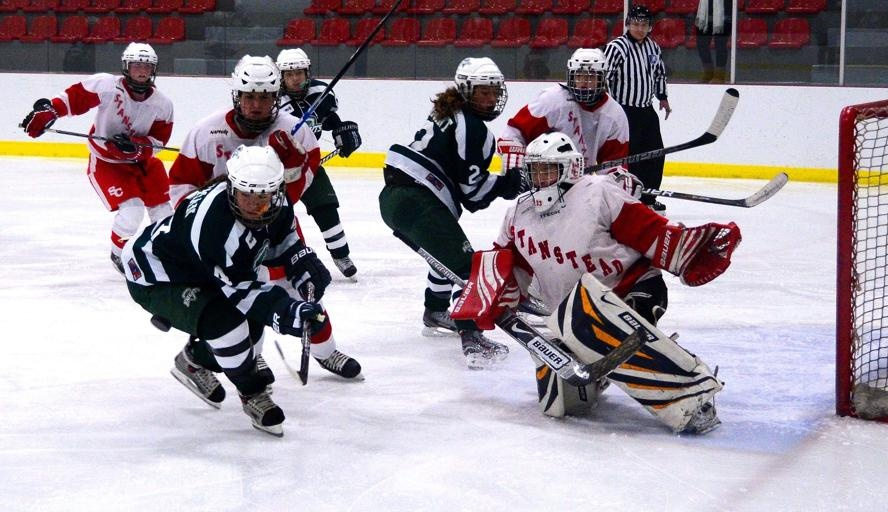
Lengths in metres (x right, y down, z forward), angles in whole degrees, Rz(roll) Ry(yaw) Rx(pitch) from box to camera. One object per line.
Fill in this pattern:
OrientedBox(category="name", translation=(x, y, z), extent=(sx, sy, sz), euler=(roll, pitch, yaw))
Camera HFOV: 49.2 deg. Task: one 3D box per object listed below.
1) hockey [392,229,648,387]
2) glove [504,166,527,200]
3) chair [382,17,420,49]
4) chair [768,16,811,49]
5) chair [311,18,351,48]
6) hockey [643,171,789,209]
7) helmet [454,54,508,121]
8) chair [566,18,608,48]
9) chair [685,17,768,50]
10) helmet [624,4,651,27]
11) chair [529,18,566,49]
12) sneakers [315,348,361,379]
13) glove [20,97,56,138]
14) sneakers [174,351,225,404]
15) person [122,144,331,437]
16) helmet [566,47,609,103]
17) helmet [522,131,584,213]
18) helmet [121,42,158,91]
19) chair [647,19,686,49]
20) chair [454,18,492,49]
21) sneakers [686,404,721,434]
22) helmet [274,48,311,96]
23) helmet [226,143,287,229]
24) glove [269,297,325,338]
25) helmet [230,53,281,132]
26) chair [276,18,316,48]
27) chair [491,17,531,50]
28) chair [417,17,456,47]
OrientedBox(category="hockey", translation=(0.273, 0.294, 5.346), extent=(1.448, 0.037, 0.474), euler=(32, 57, 31))
OrientedBox(category="glove", translation=(0.454, -0.457, 6.071), extent=(0.174, 0.181, 0.074), euler=(11, 5, -6))
OrientedBox(category="chair", translation=(-0.474, -2.702, 11.739), extent=(0.497, 0.328, 0.389), euler=(2, 0, 8))
OrientedBox(category="chair", translation=(3.690, -2.380, 10.288), extent=(0.452, 0.268, 0.279), euler=(3, 25, 18))
OrientedBox(category="chair", translation=(-1.367, -2.744, 11.957), extent=(0.507, 0.353, 0.382), euler=(2, 6, -1))
OrientedBox(category="hockey", translation=(1.678, -0.424, 6.055), extent=(0.230, 0.202, 1.542), euler=(5, 5, -22))
OrientedBox(category="helmet", translation=(0.237, -1.078, 6.103), extent=(0.372, 0.294, 0.293), euler=(23, 25, 37))
OrientedBox(category="chair", translation=(1.755, -2.669, 11.538), extent=(0.609, 0.412, 0.428), euler=(6, 25, 17))
OrientedBox(category="chair", translation=(3.282, -2.404, 10.445), extent=(1.052, 0.272, 0.347), euler=(7, 1, 25))
OrientedBox(category="helmet", translation=(1.693, -2.069, 8.339), extent=(0.184, 0.174, 0.225), euler=(3, 17, 15))
OrientedBox(category="chair", translation=(1.272, -2.642, 11.501), extent=(0.530, 0.329, 0.463), euler=(5, 31, 19))
OrientedBox(category="sneakers", translation=(-0.670, 0.619, 5.746), extent=(0.360, 0.140, 0.107), euler=(9, 59, 44))
OrientedBox(category="glove", translation=(-3.109, -1.065, 7.448), extent=(0.254, 0.285, 0.360), euler=(-8, 17, -20))
OrientedBox(category="sneakers", translation=(-1.349, 0.664, 5.365), extent=(0.397, 0.155, 0.124), euler=(32, 29, 6))
OrientedBox(category="person", translation=(-1.126, 0.168, 5.134), extent=(1.052, 1.486, 0.666), euler=(-5, 18, -11))
OrientedBox(category="helmet", translation=(0.933, -1.171, 6.429), extent=(0.298, 0.290, 0.355), euler=(5, -4, 2))
OrientedBox(category="helmet", translation=(0.567, -0.492, 5.422), extent=(0.400, 0.366, 0.398), euler=(2, 13, 28))
OrientedBox(category="helmet", translation=(-2.267, -1.493, 7.495), extent=(0.324, 0.349, 0.402), euler=(-7, 23, -30))
OrientedBox(category="chair", translation=(2.531, -2.485, 10.922), extent=(0.486, 0.350, 0.343), euler=(4, 18, 21))
OrientedBox(category="chair", translation=(0.382, -2.735, 11.799), extent=(0.449, 0.327, 0.754), euler=(-1, 15, 3))
OrientedBox(category="sneakers", translation=(1.366, 0.849, 5.063), extent=(0.219, 0.144, 0.147), euler=(2, -7, 4))
OrientedBox(category="helmet", translation=(-1.102, -1.357, 7.193), extent=(0.287, 0.275, 0.309), euler=(-6, -3, -4))
OrientedBox(category="helmet", translation=(-1.000, -0.384, 5.049), extent=(0.374, 0.385, 0.399), euler=(-4, 53, -19))
OrientedBox(category="glove", translation=(-0.748, 0.316, 5.022), extent=(0.280, 0.169, 0.108), euler=(4, 48, -6))
OrientedBox(category="helmet", translation=(-1.131, -1.003, 5.811), extent=(0.343, 0.389, 0.428), euler=(0, 21, -12))
OrientedBox(category="chair", translation=(-1.765, -2.759, 12.029), extent=(0.548, 0.356, 0.395), euler=(1, 1, 11))
OrientedBox(category="chair", translation=(0.854, -2.719, 11.766), extent=(0.436, 0.320, 0.326), euler=(3, 20, 12))
OrientedBox(category="chair", translation=(-0.072, -2.759, 11.672), extent=(0.512, 0.390, 0.311), euler=(4, -20, 3))
